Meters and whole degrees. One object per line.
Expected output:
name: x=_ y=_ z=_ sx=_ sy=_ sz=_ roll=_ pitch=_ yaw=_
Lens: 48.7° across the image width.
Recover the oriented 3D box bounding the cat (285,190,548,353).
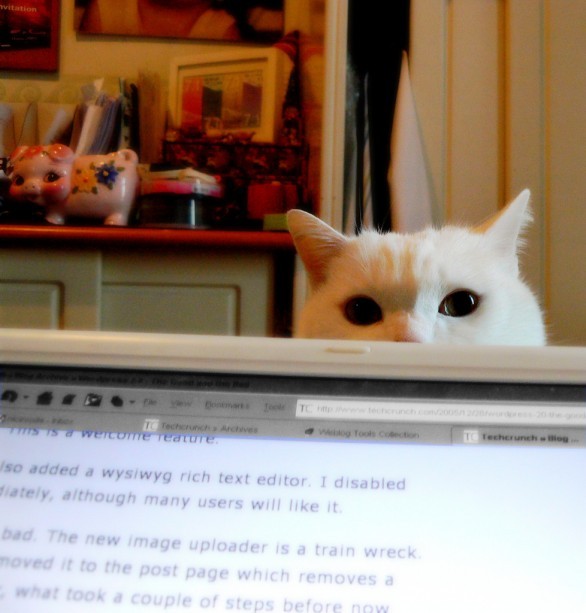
cat: x=0.153 y=-0.009 z=0.873 sx=0.299 sy=0.252 sz=0.373 roll=-2 pitch=6 yaw=3

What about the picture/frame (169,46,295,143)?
picture/frame: x=-0.148 y=-0.564 z=1.721 sx=0.279 sy=0.205 sz=0.036 roll=2 pitch=8 yaw=8
